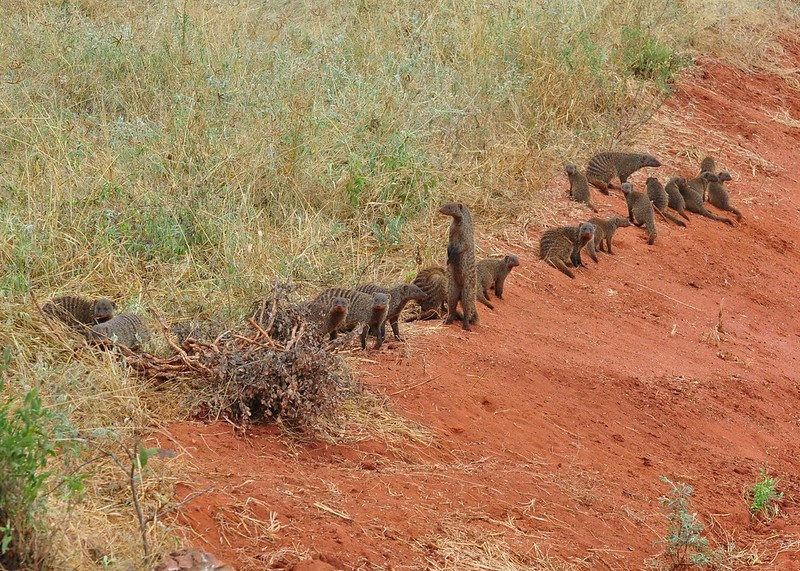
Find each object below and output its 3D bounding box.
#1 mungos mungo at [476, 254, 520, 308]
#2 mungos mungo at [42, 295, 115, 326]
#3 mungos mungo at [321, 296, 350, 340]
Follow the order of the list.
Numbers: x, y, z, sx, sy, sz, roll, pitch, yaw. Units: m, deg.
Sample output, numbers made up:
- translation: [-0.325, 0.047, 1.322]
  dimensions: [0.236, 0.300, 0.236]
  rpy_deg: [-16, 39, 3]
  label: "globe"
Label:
- translation: [0.995, -0.088, 10.309]
  dimensions: [0.287, 0.502, 0.875]
  rpy_deg: [15, 22, 41]
  label: "mungos mungo"
- translation: [-2.865, 0.230, 8.205]
  dimensions: [0.522, 0.238, 0.296]
  rpy_deg: [6, 21, 6]
  label: "mungos mungo"
- translation: [-0.605, 0.275, 8.655]
  dimensions: [0.173, 0.388, 0.717]
  rpy_deg: [0, -2, -9]
  label: "mungos mungo"
